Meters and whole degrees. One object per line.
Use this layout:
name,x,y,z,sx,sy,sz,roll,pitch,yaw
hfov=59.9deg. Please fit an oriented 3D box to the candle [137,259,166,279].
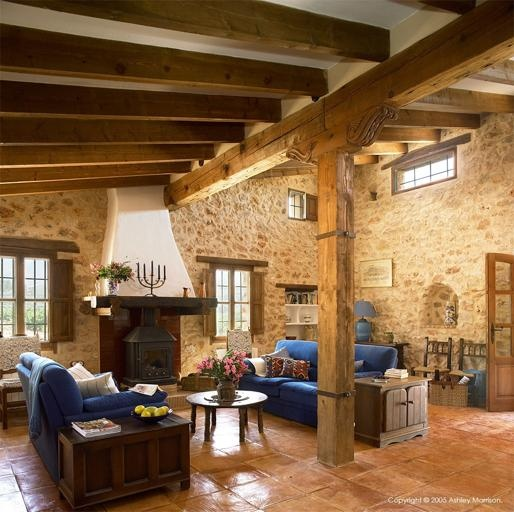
candle,-1.660,0.213,6.935,0.381,0.349,0.087,2,0,-35

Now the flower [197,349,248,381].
flower,-0.378,1.256,5.112,0.462,0.250,0.400,1,-3,-6

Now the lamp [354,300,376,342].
lamp,2.174,1.311,8.934,0.406,0.841,0.630,-1,-7,14

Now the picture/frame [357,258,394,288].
picture/frame,2.436,0.351,9.089,0.026,0.456,0.709,7,-7,-34

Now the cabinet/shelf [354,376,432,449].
cabinet/shelf,1.530,1.726,4.994,0.841,0.645,0.382,4,-8,-32

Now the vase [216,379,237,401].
vase,-0.343,1.497,4.939,0.267,0.204,0.179,1,-3,0

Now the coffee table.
coffee table,-0.334,1.865,5.142,0.914,0.352,0.812,0,-7,-1

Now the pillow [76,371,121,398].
pillow,-1.468,1.171,4.019,0.083,0.234,0.281,-23,-3,44

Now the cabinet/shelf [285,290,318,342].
cabinet/shelf,0.947,1.245,9.385,0.991,1.060,0.285,5,-9,-36

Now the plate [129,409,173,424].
plate,-0.858,1.296,3.549,0.168,0.035,0.150,1,-2,19

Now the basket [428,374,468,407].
basket,2.921,2.106,6.872,0.391,0.410,0.689,4,-4,-44

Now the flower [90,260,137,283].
flower,-2.106,0.235,6.565,0.526,0.346,0.565,1,-7,-6
